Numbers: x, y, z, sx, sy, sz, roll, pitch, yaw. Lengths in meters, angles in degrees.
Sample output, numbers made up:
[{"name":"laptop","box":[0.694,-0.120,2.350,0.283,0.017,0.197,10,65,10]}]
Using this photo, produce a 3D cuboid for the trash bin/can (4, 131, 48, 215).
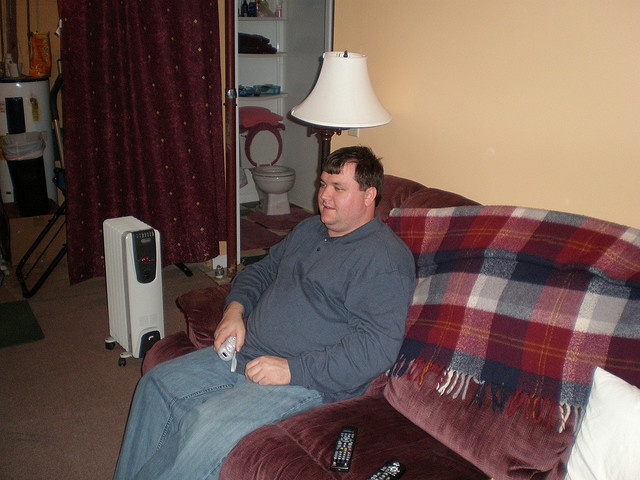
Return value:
[{"name":"trash bin/can","box":[-2.061,-0.465,3.800,0.267,0.585,0.118,-9,23,-29]}]

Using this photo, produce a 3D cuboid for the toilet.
[{"name":"toilet","box":[-0.472,-0.694,5.160,0.387,0.815,0.520,-3,16,-22]}]

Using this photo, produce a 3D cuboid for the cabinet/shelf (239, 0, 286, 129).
[{"name":"cabinet/shelf","box":[-0.549,-1.711,5.145,0.516,1.088,0.497,-5,21,-19]}]
